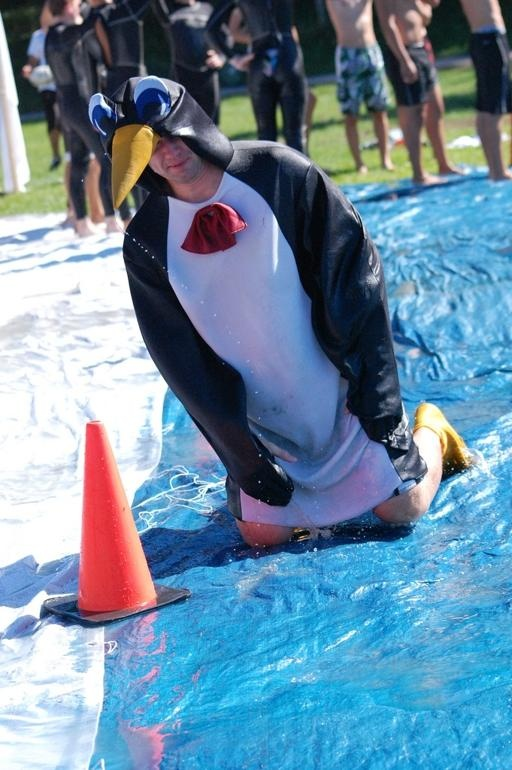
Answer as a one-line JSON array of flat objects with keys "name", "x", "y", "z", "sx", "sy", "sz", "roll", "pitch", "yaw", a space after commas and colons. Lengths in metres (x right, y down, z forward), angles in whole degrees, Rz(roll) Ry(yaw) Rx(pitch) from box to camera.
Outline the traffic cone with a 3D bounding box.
[{"name": "traffic cone", "x": -0.418, "y": 0.430, "z": 2.335, "sx": 0.427, "sy": 0.525, "sz": 0.426, "roll": -15, "pitch": 14, "yaw": -36}]

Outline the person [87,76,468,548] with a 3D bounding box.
[{"name": "person", "x": 0.033, "y": -0.180, "z": 2.311, "sx": 0.988, "sy": 1.292, "sz": 0.761, "roll": -14, "pitch": 3, "yaw": -28}]
